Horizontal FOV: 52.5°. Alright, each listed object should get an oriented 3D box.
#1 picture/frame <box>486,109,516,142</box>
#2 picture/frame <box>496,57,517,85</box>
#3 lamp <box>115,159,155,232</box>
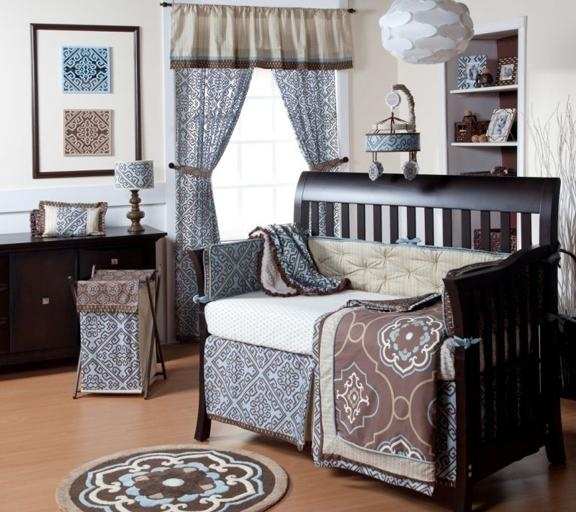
[{"bbox_3d":[1.491,-0.901,4.060,0.030,0.225,0.265,19,13,-15],"label":"picture/frame"},{"bbox_3d":[1.521,-1.280,4.047,0.044,0.198,0.194,5,-5,-25],"label":"picture/frame"},{"bbox_3d":[-1.016,-0.400,3.879,0.231,0.481,0.327,-1,6,-10],"label":"lamp"}]
